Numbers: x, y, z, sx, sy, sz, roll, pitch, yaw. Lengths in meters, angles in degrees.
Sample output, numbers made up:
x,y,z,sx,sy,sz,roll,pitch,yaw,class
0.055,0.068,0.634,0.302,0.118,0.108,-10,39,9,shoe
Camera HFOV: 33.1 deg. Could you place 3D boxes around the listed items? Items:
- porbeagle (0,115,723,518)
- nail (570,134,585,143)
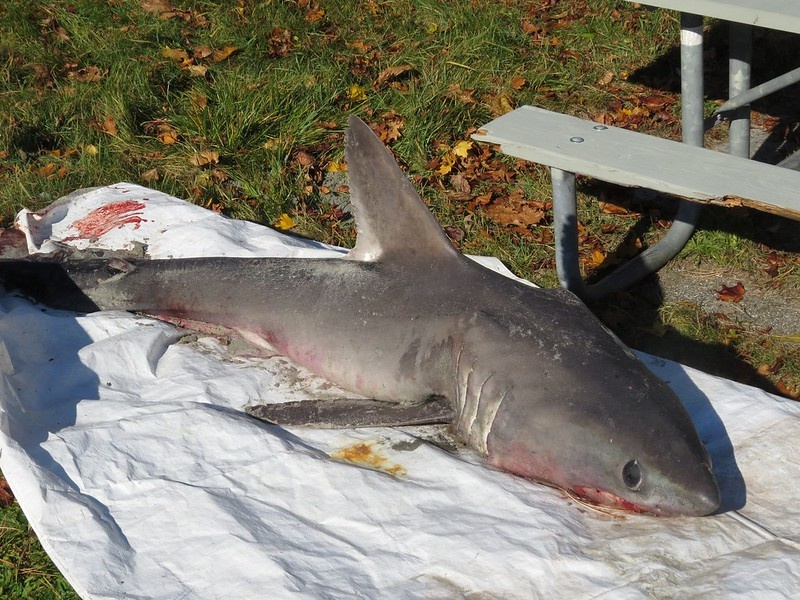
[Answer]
x,y,z,sx,sy,sz,roll,pitch,yaw,class
-0.116,0.032,6.798,3.481,0.962,1.422,19,30,32,porbeagle
0.971,-0.876,7.363,0.051,0.043,0.008,3,47,1,nail
